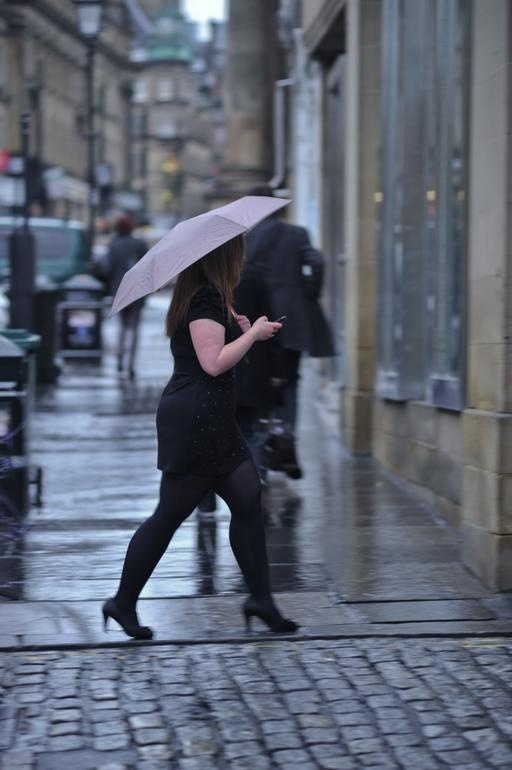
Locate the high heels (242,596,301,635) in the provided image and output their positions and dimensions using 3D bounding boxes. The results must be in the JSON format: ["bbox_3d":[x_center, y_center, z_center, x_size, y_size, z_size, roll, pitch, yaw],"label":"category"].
[{"bbox_3d":[0.049,0.813,4.466,0.257,0.150,0.086,5,-3,-2],"label":"high heels"}]

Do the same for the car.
[{"bbox_3d":[-5.647,-3.583,33.100,2.533,2.109,4.097,-2,7,-5],"label":"car"}]

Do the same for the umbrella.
[{"bbox_3d":[-0.188,-0.438,4.309,0.630,0.392,0.447,-4,6,-34],"label":"umbrella"}]
